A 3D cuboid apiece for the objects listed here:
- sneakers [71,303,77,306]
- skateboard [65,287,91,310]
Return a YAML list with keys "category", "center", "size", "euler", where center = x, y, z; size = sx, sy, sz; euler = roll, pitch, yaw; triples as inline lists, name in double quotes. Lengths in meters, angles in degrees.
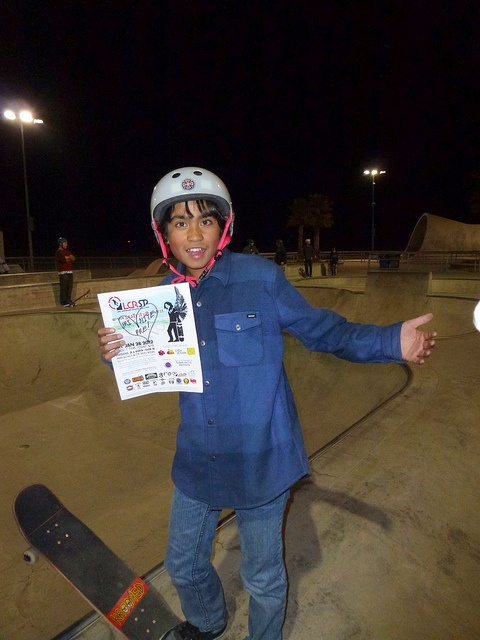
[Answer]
- category: "sneakers"
  center: [-4.774, -0.451, 12.158]
  size: [0.124, 0.120, 0.041]
  euler: [-7, 10, -43]
- category: "skateboard"
  center: [-4.844, -0.628, 12.600]
  size: [0.426, 0.362, 2.361]
  euler: [18, 1, -20]
